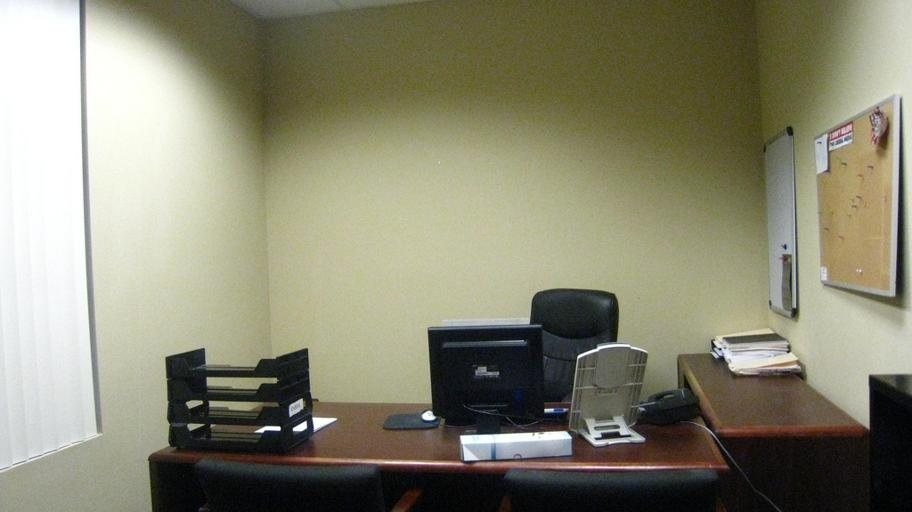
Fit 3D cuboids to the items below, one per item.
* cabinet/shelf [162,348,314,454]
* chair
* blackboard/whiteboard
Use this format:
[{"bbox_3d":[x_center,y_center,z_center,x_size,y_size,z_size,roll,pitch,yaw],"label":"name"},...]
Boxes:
[{"bbox_3d":[-1.399,0.981,4.557,1.088,0.752,0.675,-1,-1,8],"label":"cabinet/shelf"},{"bbox_3d":[1.200,0.682,5.454,0.769,0.965,0.891,1,-5,17],"label":"chair"},{"bbox_3d":[2.550,-0.247,5.215,0.109,1.539,0.468,-3,0,8],"label":"blackboard/whiteboard"}]
